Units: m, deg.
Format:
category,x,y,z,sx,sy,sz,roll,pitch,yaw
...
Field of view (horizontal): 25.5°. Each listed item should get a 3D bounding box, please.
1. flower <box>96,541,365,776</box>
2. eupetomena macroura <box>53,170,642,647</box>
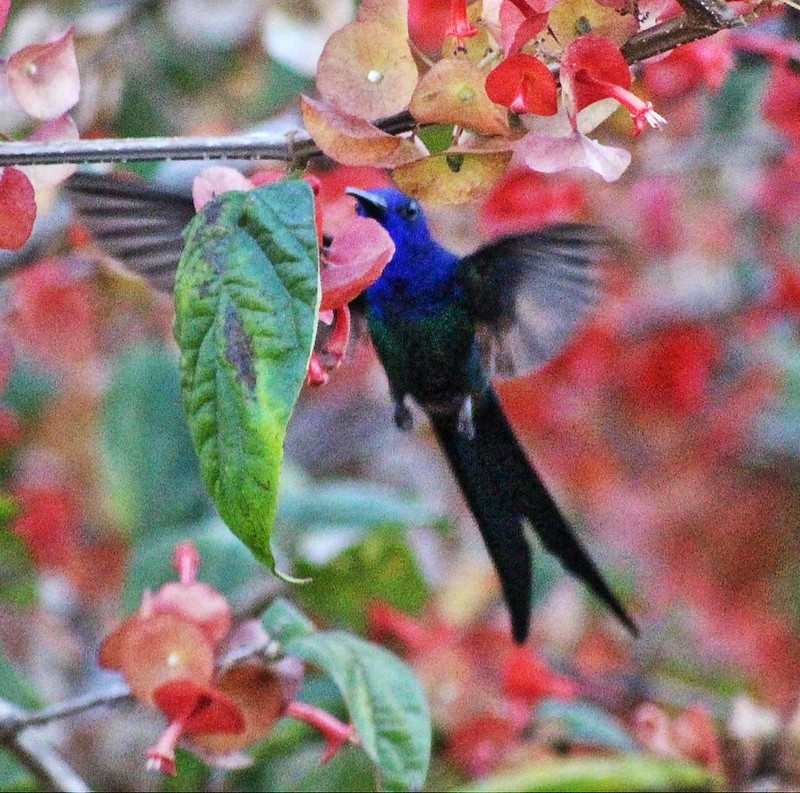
category,x,y,z,sx,sy,sz,roll,pitch,yaw
flower,-0.115,0.205,1.334,0.125,0.192,0.086,-21,39,42
eupetomena macroura,0.014,-0.026,1.321,0.397,0.403,0.211,1,60,21
